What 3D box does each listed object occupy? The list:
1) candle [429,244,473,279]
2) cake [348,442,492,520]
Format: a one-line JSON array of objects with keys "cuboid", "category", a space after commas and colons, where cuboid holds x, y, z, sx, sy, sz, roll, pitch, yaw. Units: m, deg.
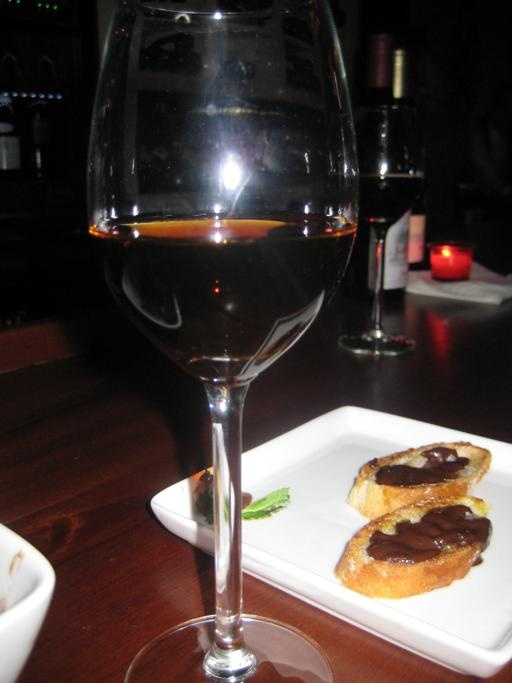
[{"cuboid": [0.423, -0.170, 1.275, 0.083, 0.059, 0.082, 1, 11, 11], "category": "candle"}, {"cuboid": [0.126, 0.110, 0.473, 0.099, 0.023, 0.054, -9, 17, -21], "category": "cake"}]
